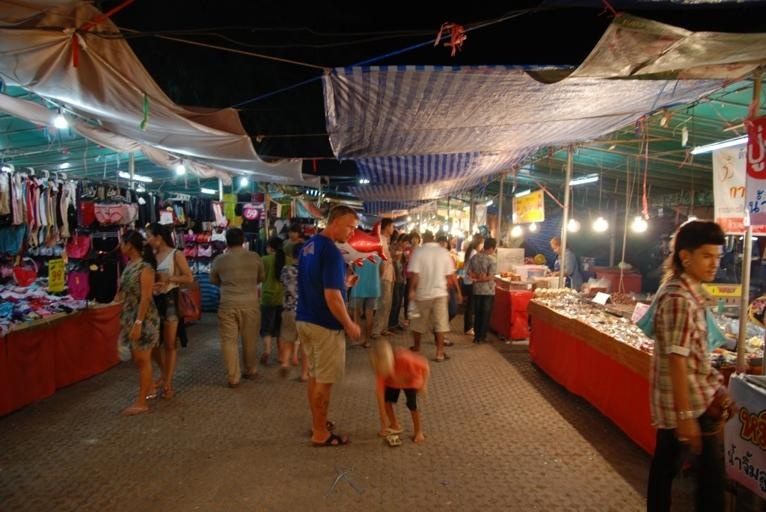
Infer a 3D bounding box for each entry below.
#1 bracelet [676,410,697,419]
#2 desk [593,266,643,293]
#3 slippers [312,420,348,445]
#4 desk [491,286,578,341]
[{"bbox_3d":[2.844,1.476,4.948,0.157,0.089,0.048,1,5,-2],"label":"bracelet"},{"bbox_3d":[6.154,0.593,13.705,1.002,0.681,1.418,1,3,9],"label":"desk"},{"bbox_3d":[-0.694,2.161,6.539,0.502,0.317,0.224,-1,0,-16],"label":"slippers"},{"bbox_3d":[2.553,1.077,9.883,1.029,0.727,1.003,0,14,3],"label":"desk"}]
